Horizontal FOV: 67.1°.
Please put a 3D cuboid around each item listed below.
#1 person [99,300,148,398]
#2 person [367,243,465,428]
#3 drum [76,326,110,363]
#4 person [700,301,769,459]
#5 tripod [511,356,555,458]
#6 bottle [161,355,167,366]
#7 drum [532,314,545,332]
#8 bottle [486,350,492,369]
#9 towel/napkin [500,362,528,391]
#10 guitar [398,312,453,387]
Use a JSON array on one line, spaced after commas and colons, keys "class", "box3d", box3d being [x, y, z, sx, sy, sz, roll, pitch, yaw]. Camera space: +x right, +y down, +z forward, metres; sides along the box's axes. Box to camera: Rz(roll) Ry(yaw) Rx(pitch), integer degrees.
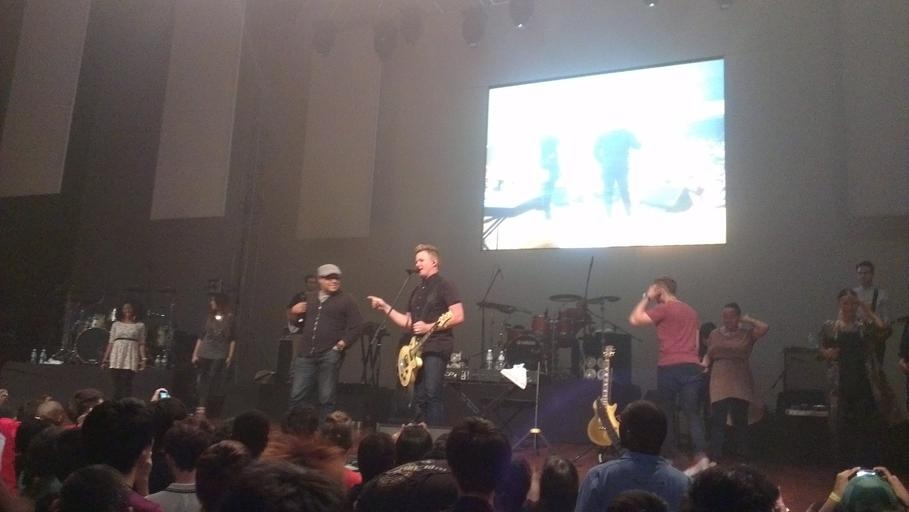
[{"class": "person", "box3d": [-5.006, 1.390, 10.385, 0.629, 1.409, 0.503, -5, -9, 38]}, {"class": "person", "box3d": [-0.483, 1.113, 9.056, 1.031, 2.832, 1.434, 20, -35, -28]}, {"class": "drum", "box3d": [-5.630, 1.400, 10.836, 0.547, 0.493, 0.362, 16, -6, -6]}, {"class": "person", "box3d": [3.397, 1.511, 8.363, 0.689, 1.865, 0.349, 1, -7, 3]}, {"class": "tripod", "box3d": [1.000, 1.917, 8.856, 0.442, 1.140, 0.601, 0, -7, 6]}, {"class": "bottle", "box3d": [-4.404, 1.584, 10.420, 0.115, 0.159, 0.035, 2, -7, -5]}, {"class": "drum", "box3d": [1.140, 0.914, 9.305, 0.191, 0.231, 0.187, 0, -7, 6]}, {"class": "bottle", "box3d": [0.483, 1.405, 9.526, 0.088, 0.231, 0.220, 1, -7, 2]}, {"class": "towel/napkin", "box3d": [0.761, 1.547, 8.809, 0.333, 0.296, 0.219, 0, -7, 10]}, {"class": "guitar", "box3d": [-0.343, 1.141, 8.324, 0.153, 0.429, 1.061, 17, -48, -31]}]
